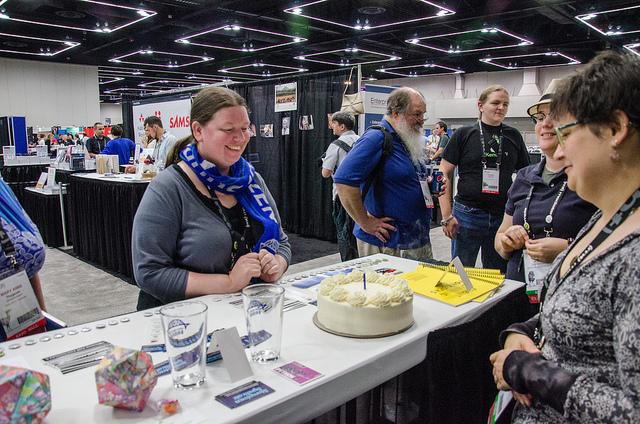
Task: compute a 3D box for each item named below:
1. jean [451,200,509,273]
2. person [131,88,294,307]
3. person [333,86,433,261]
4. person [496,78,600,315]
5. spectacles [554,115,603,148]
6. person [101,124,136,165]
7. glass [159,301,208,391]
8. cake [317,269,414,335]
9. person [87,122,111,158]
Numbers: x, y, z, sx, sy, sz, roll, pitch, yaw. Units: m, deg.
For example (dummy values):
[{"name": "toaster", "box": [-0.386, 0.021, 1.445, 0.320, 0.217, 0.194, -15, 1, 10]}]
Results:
[{"name": "jean", "box": [1.330, 0.199, 3.253, 0.424, 0.541, 0.299, 1, 14, 16]}, {"name": "person", "box": [-0.537, -0.118, 1.901, 0.755, 0.960, 0.559, -6, 14, -14]}, {"name": "person", "box": [0.482, -0.275, 2.903, 0.706, 1.268, 0.486, -1, 14, 8]}, {"name": "person", "box": [1.363, 0.100, 2.283, 0.567, 1.629, 0.516, 7, 14, 39]}, {"name": "spectacles", "box": [0.760, -0.240, 1.161, 0.057, 0.092, 0.121, -6, 13, -15]}, {"name": "person", "box": [-4.272, -1.419, 8.158, 0.489, 0.828, 0.979, -6, 13, -14]}, {"name": "glass", "box": [-0.417, 0.413, 1.229, 0.134, 0.243, 0.142, -8, 14, -20]}, {"name": "cake", "box": [0.186, 0.361, 1.607, 0.381, 0.170, 0.380, -1, 6, 2]}, {"name": "person", "box": [-5.097, -1.638, 9.021, 0.526, 0.843, 0.548, 26, 26, 39]}]
